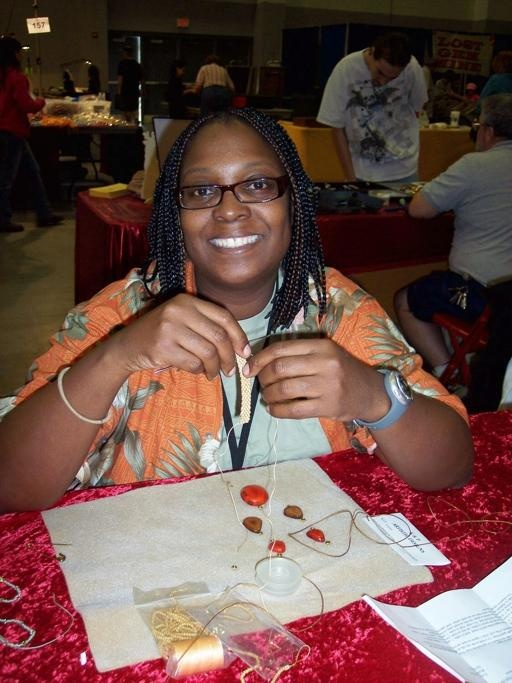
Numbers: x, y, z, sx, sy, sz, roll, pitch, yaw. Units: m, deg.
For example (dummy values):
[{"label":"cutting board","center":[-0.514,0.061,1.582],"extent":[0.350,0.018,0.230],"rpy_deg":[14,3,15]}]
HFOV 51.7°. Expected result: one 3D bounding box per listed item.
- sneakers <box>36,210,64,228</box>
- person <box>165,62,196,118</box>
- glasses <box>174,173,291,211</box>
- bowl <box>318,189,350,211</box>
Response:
[{"label":"sneakers","center":[-2.460,-1.461,6.234],"extent":[0.434,0.173,0.143],"rpy_deg":[-17,35,-34]},{"label":"person","center":[-1.429,-4.764,9.838],"extent":[0.555,0.492,1.545],"rpy_deg":[-9,49,2]},{"label":"glasses","center":[-0.044,-0.276,0.985],"extent":[0.204,0.066,0.064],"rpy_deg":[0,19,-5]},{"label":"bowl","center":[0.441,-0.806,3.027],"extent":[0.208,0.113,0.046],"rpy_deg":[-8,11,-26]}]
